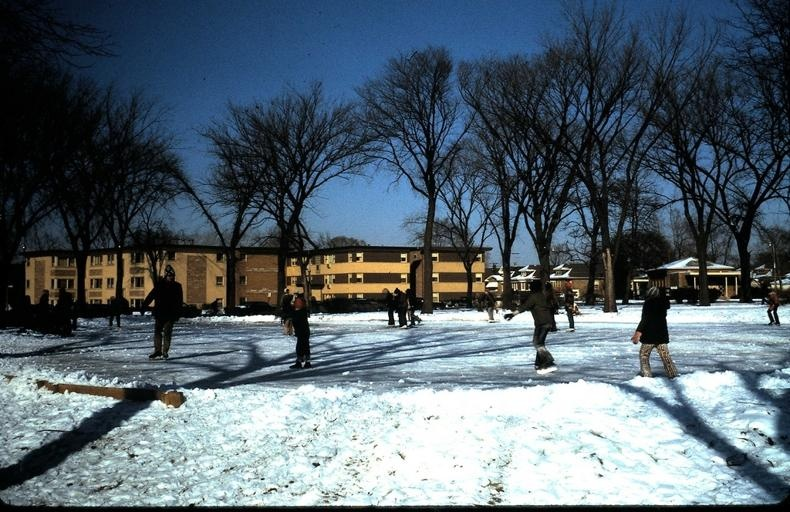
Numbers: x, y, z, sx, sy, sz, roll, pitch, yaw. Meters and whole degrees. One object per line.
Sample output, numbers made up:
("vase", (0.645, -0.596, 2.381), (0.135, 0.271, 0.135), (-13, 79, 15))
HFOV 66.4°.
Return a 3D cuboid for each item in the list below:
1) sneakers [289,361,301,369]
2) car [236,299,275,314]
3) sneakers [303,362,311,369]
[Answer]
("sneakers", (-2.614, 2.908, 16.016), (0.347, 0.262, 0.132), (4, -4, 25))
("car", (-12.686, 4.809, 55.059), (2.180, 1.099, 5.217), (-4, -4, 1))
("sneakers", (-2.300, 2.925, 16.056), (0.143, 0.143, 0.148), (-6, -12, 35))
